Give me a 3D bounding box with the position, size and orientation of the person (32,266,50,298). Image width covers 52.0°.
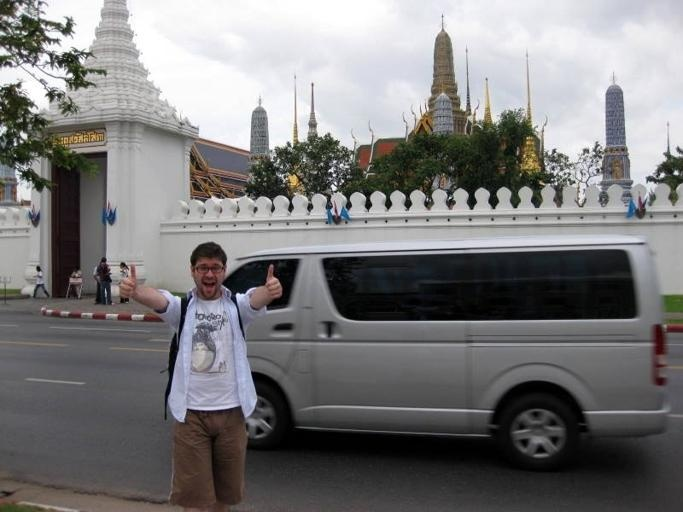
[{"bbox_3d":[-11.479,0.954,26.477,0.754,1.258,0.617,1,4,26],"label":"person"}]

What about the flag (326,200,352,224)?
[{"bbox_3d":[-0.114,-1.384,22.440,0.666,0.824,0.063,-2,0,6],"label":"flag"}]

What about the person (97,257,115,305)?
[{"bbox_3d":[-7.945,0.835,23.352,0.465,1.609,1.397,-2,4,-19],"label":"person"}]

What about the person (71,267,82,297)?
[{"bbox_3d":[-10.106,1.016,26.555,0.353,0.985,1.745,-2,5,-23],"label":"person"}]

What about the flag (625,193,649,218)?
[{"bbox_3d":[8.513,-1.398,20.120,0.601,0.656,0.473,0,4,11],"label":"flag"}]

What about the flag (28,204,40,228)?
[{"bbox_3d":[-11.701,-1.527,26.703,0.599,0.815,0.240,3,5,44],"label":"flag"}]
